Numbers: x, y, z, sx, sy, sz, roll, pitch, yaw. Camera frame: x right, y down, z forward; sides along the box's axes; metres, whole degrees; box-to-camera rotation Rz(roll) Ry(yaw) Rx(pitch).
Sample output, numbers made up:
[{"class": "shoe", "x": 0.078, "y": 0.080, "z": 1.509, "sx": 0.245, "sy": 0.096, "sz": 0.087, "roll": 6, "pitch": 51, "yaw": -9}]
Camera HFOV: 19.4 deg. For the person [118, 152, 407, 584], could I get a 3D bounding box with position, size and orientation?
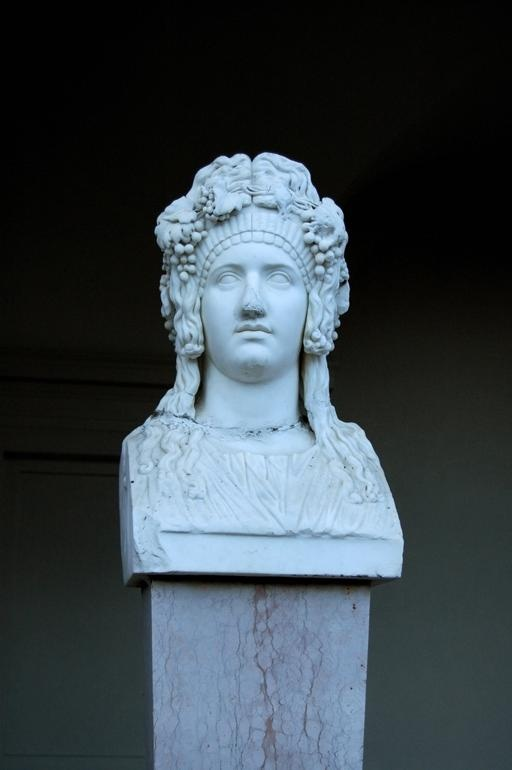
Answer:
[{"class": "person", "x": -0.008, "y": -0.010, "z": 5.269, "sx": 0.928, "sy": 1.653, "sz": 0.799, "roll": -1, "pitch": -13, "yaw": 3}]
